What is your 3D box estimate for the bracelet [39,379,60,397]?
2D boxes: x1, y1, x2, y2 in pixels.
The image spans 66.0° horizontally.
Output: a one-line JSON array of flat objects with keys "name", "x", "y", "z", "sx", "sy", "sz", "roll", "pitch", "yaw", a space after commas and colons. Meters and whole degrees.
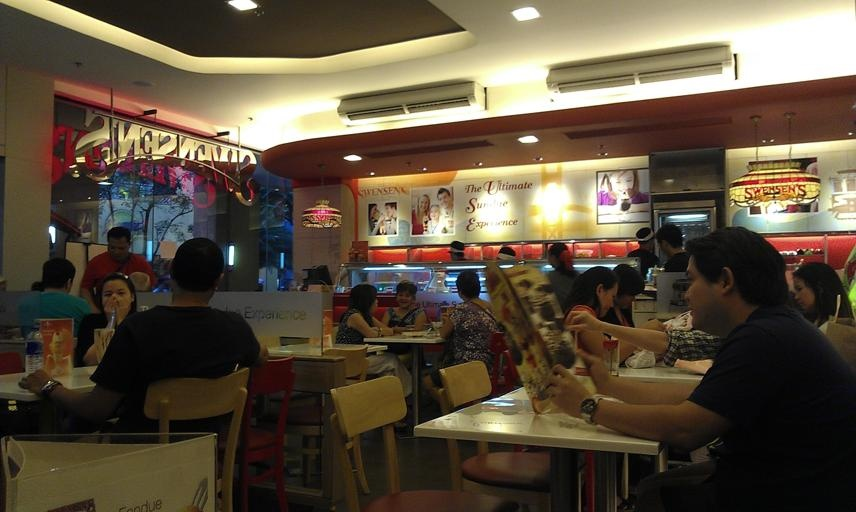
[{"name": "bracelet", "x": -2.394, "y": 0.840, "z": 4.167, "sx": 0.057, "sy": 0.075, "sz": 0.088, "roll": 30, "pitch": 46, "yaw": 33}]

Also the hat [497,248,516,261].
[{"name": "hat", "x": 1.032, "y": -0.021, "z": 8.576, "sx": 0.273, "sy": 0.181, "sz": 0.205, "roll": 0, "pitch": 2, "yaw": -25}]

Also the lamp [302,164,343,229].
[{"name": "lamp", "x": -1.890, "y": -0.951, "z": 11.402, "sx": 0.958, "sy": 0.691, "sz": 0.764, "roll": 13, "pitch": 9, "yaw": -21}]

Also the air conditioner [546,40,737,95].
[{"name": "air conditioner", "x": 2.730, "y": -2.407, "z": 8.515, "sx": 2.221, "sy": 0.381, "sz": 0.384, "roll": -2, "pitch": 23, "yaw": 22}]

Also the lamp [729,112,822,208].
[{"name": "lamp", "x": 4.524, "y": -1.302, "z": 8.628, "sx": 1.090, "sy": 1.074, "sz": 1.111, "roll": -11, "pitch": 8, "yaw": -43}]

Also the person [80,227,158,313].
[{"name": "person", "x": -3.173, "y": 0.273, "z": 6.759, "sx": 0.754, "sy": 1.038, "sz": 0.610, "roll": 0, "pitch": 2, "yaw": -25}]

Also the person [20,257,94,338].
[{"name": "person", "x": -3.509, "y": 0.396, "z": 6.206, "sx": 0.881, "sy": 0.789, "sz": 0.489, "roll": 1, "pitch": 3, "yaw": -4}]
